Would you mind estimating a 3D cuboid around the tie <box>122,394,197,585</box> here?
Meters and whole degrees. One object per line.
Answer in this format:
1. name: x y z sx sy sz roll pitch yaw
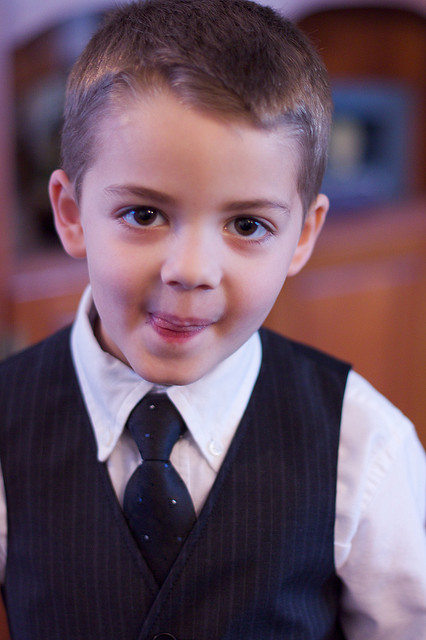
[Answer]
1. tie: -0.069 0.204 0.781 0.086 0.190 0.135 -4 18 -9
